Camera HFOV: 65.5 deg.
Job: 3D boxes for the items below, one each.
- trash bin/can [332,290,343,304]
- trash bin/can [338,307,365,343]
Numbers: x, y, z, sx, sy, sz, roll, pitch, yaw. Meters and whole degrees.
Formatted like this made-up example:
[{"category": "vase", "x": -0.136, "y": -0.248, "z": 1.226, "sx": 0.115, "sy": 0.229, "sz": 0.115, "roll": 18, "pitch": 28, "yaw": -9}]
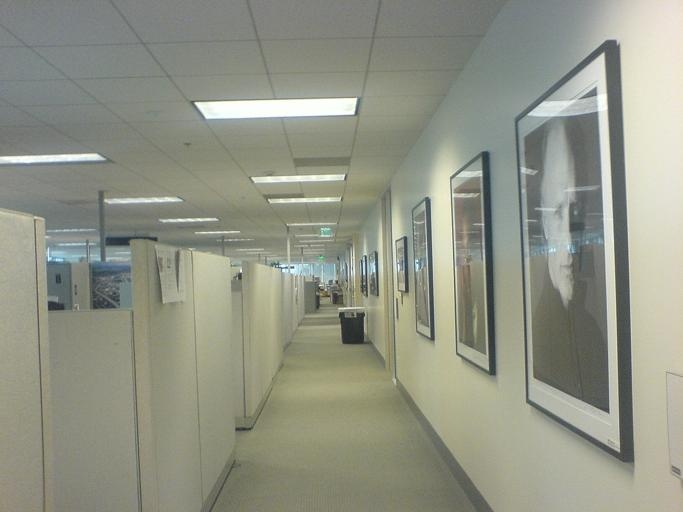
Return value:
[{"category": "trash bin/can", "x": -0.200, "y": 2.153, "z": 27.183, "sx": 0.489, "sy": 0.700, "sz": 0.963, "roll": 0, "pitch": 0, "yaw": 2}, {"category": "trash bin/can", "x": 0.274, "y": 1.595, "z": 12.367, "sx": 0.660, "sy": 0.877, "sz": 0.701, "roll": -1, "pitch": 0, "yaw": 4}]
